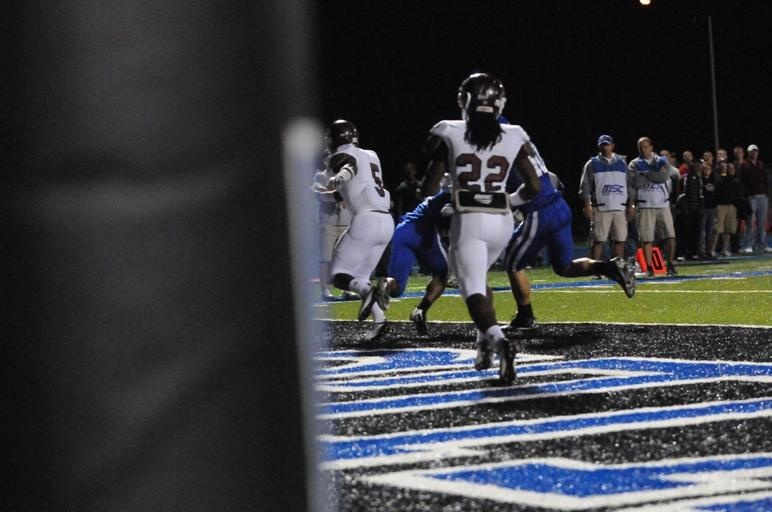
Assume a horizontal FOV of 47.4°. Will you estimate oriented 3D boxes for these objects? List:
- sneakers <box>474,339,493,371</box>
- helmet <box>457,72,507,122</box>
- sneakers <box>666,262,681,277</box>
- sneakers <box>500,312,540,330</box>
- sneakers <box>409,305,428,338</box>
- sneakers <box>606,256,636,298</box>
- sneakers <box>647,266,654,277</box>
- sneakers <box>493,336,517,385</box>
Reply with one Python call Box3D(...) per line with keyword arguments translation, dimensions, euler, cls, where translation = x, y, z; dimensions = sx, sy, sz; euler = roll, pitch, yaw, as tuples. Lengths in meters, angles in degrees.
Box3D(translation=(0.565, 0.558, 4.994), dimensions=(0.071, 0.205, 0.097), euler=(5, 5, -7), cls="sneakers")
Box3D(translation=(0.579, -0.959, 5.347), dimensions=(0.290, 0.334, 0.342), euler=(2, 17, -1), cls="helmet")
Box3D(translation=(4.545, 0.190, 13.933), dimensions=(0.140, 0.257, 0.356), euler=(2, 4, 35), cls="sneakers")
Box3D(translation=(1.168, 0.566, 7.601), dimensions=(0.346, 0.153, 0.121), euler=(3, 2, 14), cls="sneakers")
Box3D(translation=(0.277, 0.529, 7.017), dimensions=(0.102, 0.222, 0.169), euler=(-3, 18, 18), cls="sneakers")
Box3D(translation=(2.325, 0.219, 8.661), dimensions=(0.173, 0.481, 0.205), euler=(-28, 17, 15), cls="sneakers")
Box3D(translation=(4.134, 0.246, 13.738), dimensions=(0.111, 0.120, 0.117), euler=(-13, -13, 27), cls="sneakers")
Box3D(translation=(0.631, 0.551, 4.609), dimensions=(0.091, 0.239, 0.133), euler=(-1, 4, -3), cls="sneakers")
